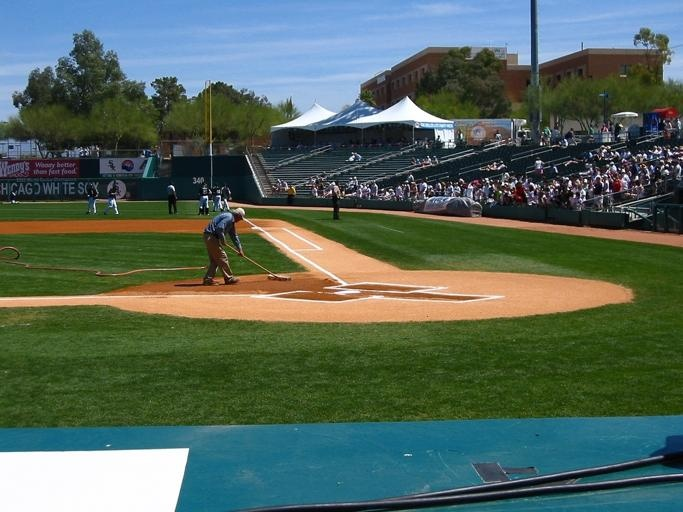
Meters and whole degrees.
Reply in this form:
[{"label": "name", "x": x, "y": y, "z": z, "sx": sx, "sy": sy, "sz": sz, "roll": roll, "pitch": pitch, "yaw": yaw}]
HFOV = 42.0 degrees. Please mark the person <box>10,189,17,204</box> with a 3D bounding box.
[{"label": "person", "x": -24.357, "y": -4.432, "z": 66.063, "sx": 0.484, "sy": 0.839, "sz": 2.447, "roll": -5, "pitch": 6, "yaw": -19}]
